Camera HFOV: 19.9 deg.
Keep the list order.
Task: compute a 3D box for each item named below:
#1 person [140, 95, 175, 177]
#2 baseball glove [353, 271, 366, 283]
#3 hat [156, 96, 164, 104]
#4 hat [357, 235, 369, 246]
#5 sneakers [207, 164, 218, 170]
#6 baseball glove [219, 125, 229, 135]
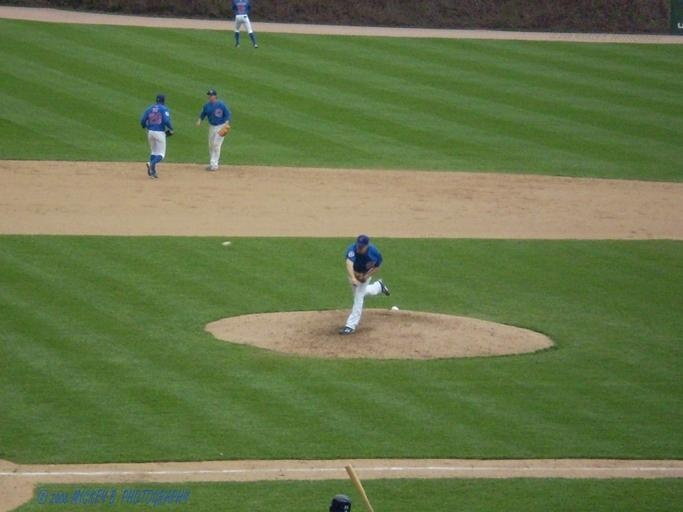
[{"bbox_3d":[-5.231,-3.236,56.633,0.915,2.473,1.127,3,12,0],"label":"person"},{"bbox_3d":[0.552,0.680,50.694,0.332,0.232,0.531,3,11,0],"label":"baseball glove"},{"bbox_3d":[-5.138,-4.319,56.533,0.197,0.278,0.604,1,11,-8],"label":"hat"},{"bbox_3d":[0.616,-0.276,50.473,0.281,0.242,0.224,2,12,-4],"label":"hat"},{"bbox_3d":[-3.733,-2.455,58.116,0.143,0.158,0.404,1,10,-10],"label":"sneakers"},{"bbox_3d":[-3.336,-3.465,56.958,0.259,0.339,0.270,1,12,-8],"label":"baseball glove"}]
